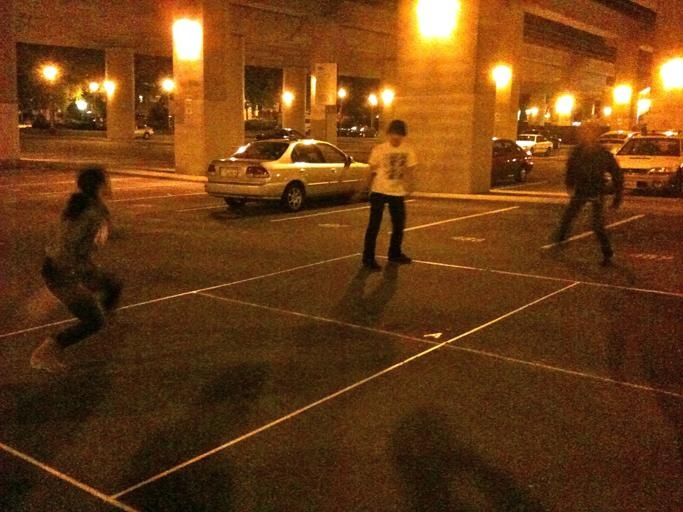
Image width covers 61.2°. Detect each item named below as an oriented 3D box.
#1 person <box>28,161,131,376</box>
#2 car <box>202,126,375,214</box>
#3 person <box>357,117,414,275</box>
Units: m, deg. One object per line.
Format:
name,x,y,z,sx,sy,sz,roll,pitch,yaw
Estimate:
person,-2.408,0.126,5.242,0.829,1.811,0.561,-9,15,-38
car,-1.354,-2.075,14.803,3.835,1.720,1.328,-9,16,-37
person,0.739,-0.938,8.958,0.800,2.248,0.518,-1,12,-7
